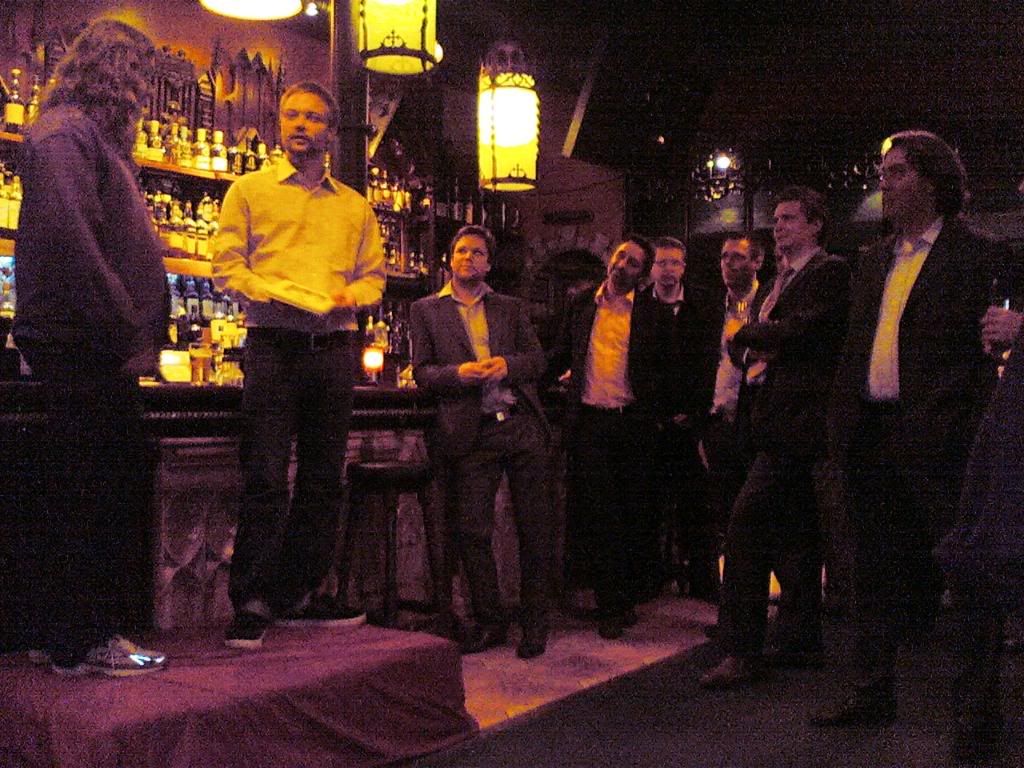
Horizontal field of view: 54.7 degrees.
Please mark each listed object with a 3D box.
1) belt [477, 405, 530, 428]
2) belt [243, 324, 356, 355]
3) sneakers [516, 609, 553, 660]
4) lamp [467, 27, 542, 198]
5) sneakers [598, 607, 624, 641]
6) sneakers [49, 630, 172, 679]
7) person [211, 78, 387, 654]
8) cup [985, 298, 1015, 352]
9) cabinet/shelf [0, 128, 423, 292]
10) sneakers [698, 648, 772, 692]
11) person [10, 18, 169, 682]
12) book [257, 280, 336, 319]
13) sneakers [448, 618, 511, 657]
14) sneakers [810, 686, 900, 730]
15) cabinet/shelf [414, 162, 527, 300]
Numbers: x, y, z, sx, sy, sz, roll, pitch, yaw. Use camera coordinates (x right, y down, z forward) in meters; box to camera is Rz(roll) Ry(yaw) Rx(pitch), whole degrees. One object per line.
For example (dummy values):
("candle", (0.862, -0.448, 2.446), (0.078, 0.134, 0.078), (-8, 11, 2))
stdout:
("belt", (-0.037, 0.158, 4.672), (0.232, 0.099, 0.050), (-1, 0, -29))
("belt", (-0.797, -0.163, 3.715), (0.378, 0.095, 0.114), (-1, 0, -26))
("sneakers", (0.095, 1.151, 4.652), (0.140, 0.218, 0.289), (-1, 0, 15))
("lamp", (-0.030, -1.466, 5.403), (0.315, 0.793, 0.247), (-1, 0, -2))
("sneakers", (0.491, 1.197, 4.931), (0.132, 0.118, 0.125), (1, -15, -6))
("sneakers", (-1.268, 0.838, 3.124), (0.348, 0.116, 0.133), (-3, -4, -9))
("person", (-0.814, -0.109, 3.738), (0.552, 2.123, 0.648), (-1, 0, 8))
("cup", (1.587, -0.187, 3.177), (0.057, 0.143, 0.113), (10, -13, -17))
("cabinet/shelf", (-1.357, -0.761, 4.262), (1.685, 0.354, 0.237), (4, -7, -44))
("sneakers", (0.939, 1.198, 4.177), (0.358, 0.132, 0.126), (0, -3, -29))
("person", (-1.343, -0.141, 3.151), (0.449, 2.186, 0.275), (-1, 0, -19))
("book", (-0.785, -0.314, 3.567), (0.282, 0.144, 0.135), (-1, 0, -11))
("sneakers", (-0.159, 1.194, 4.679), (0.185, 0.102, 0.304), (-2, -3, 41))
("sneakers", (1.196, 1.182, 3.641), (0.407, 0.148, 0.128), (-3, -1, 8))
("cabinet/shelf", (-0.428, -1.341, 8.853), (0.400, 1.050, 1.178), (5, 6, 43))
